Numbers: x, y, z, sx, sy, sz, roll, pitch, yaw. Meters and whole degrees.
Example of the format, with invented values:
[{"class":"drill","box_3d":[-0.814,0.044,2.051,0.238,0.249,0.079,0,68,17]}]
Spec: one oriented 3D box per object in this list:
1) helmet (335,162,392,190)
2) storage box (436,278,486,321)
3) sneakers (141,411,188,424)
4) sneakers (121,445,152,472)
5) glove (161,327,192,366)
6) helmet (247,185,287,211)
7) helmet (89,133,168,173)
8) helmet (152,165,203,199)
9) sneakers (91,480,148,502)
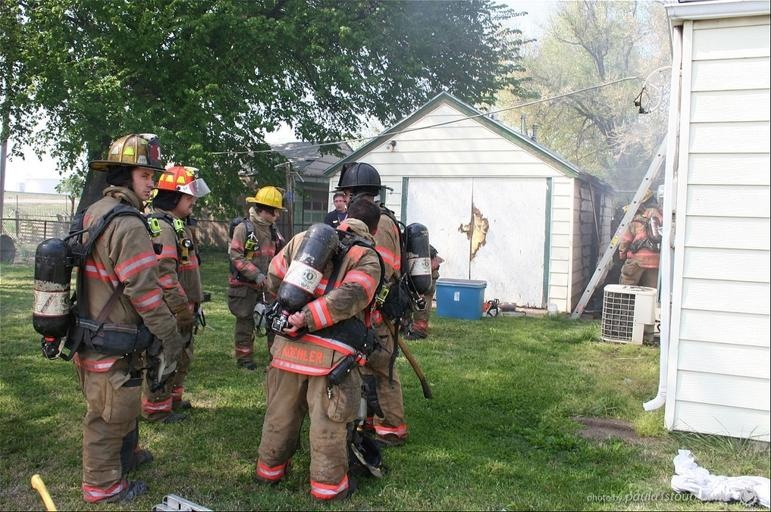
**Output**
[{"class":"helmet","box_3d":[-0.358,-1.010,8.912,0.361,0.243,0.476,-6,13,-44]},{"class":"storage box","box_3d":[1.623,0.924,14.949,1.053,0.722,0.768,3,3,17]},{"class":"sneakers","box_3d":[-2.890,2.135,9.174,0.353,0.102,0.221,-1,-3,17]},{"class":"sneakers","box_3d":[-2.915,2.405,8.198,0.190,0.229,0.302,1,-16,12]},{"class":"glove","box_3d":[-2.452,1.127,8.151,0.360,0.511,0.238,9,7,-2]},{"class":"helmet","box_3d":[-1.850,-0.880,10.954,0.546,0.305,0.405,14,12,-19]},{"class":"helmet","box_3d":[-3.001,-1.197,8.125,0.649,0.310,0.490,-7,9,-20]},{"class":"helmet","box_3d":[-2.722,-0.987,9.397,0.525,0.331,0.407,-6,8,-6]},{"class":"sneakers","box_3d":[-2.955,2.630,7.781,0.558,0.246,0.211,-3,5,-39]}]
